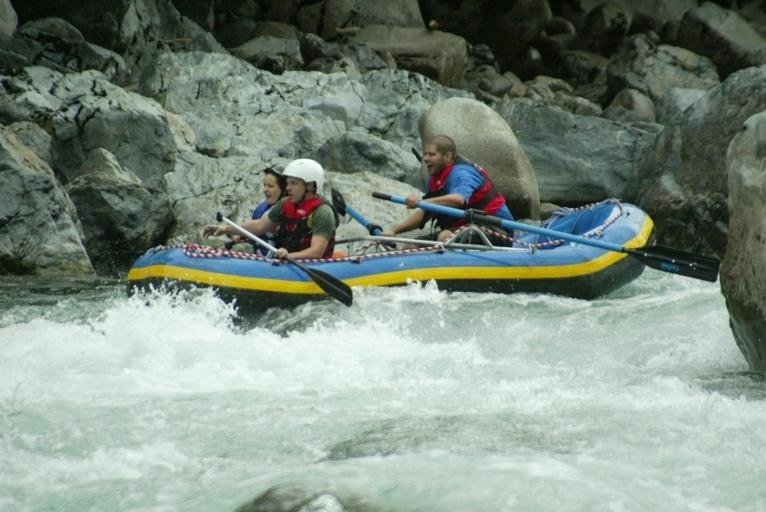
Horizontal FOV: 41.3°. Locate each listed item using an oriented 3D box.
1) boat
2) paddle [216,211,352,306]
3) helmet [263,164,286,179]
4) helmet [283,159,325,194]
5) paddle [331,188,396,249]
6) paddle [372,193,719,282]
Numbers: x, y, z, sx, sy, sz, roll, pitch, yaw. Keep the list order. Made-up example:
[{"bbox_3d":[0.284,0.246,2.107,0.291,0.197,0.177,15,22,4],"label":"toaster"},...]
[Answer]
[{"bbox_3d":[0.419,0.100,13.152,5.718,0.956,2.541,-9,22,-16],"label":"boat"},{"bbox_3d":[-1.257,0.056,12.820,2.109,0.306,0.208,30,8,5],"label":"paddle"},{"bbox_3d":[-1.437,-1.123,13.449,0.245,0.098,0.186,-2,0,24],"label":"helmet"},{"bbox_3d":[-0.989,-1.046,13.197,0.519,0.411,0.382,-13,23,-16],"label":"helmet"},{"bbox_3d":[-0.324,-0.524,14.742,1.103,0.326,0.232,41,67,7],"label":"paddle"},{"bbox_3d":[2.220,-0.225,13.994,4.612,0.484,0.397,12,15,11],"label":"paddle"}]
